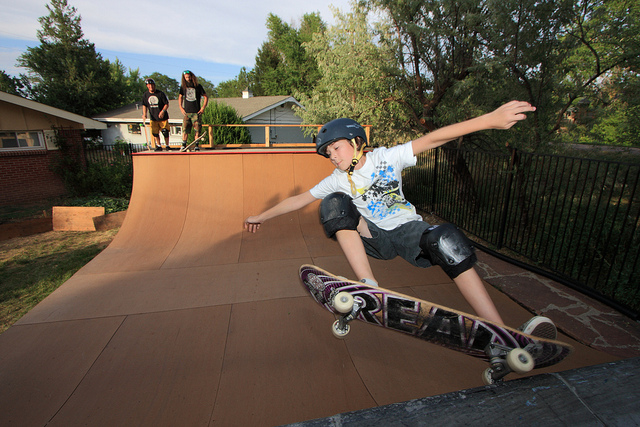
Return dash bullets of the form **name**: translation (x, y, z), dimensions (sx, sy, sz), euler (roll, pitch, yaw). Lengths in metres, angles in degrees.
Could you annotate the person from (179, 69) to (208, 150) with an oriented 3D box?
- **person**: translation (-3.437, -2.668, 9.274), dimensions (0.765, 2.052, 1.393), euler (-6, 19, -18)
